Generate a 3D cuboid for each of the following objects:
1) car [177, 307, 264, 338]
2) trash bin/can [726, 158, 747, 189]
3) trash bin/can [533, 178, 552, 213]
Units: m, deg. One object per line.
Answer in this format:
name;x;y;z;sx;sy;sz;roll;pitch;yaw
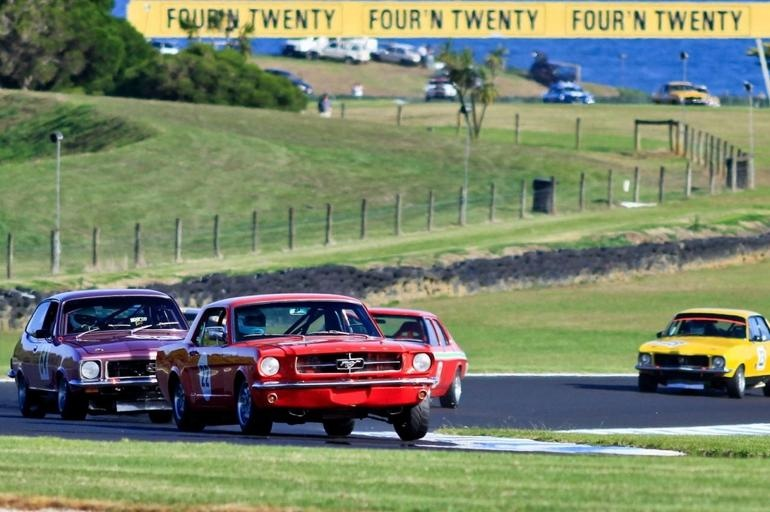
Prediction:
car;-7.916;3.589;105.420;2.678;1.630;5.142;1;2;-1
trash bin/can;26.166;-6.102;157.718;1.623;2.157;2.011;1;15;6
trash bin/can;11.585;-4.248;156.021;1.111;2.171;2.138;-8;16;-26
